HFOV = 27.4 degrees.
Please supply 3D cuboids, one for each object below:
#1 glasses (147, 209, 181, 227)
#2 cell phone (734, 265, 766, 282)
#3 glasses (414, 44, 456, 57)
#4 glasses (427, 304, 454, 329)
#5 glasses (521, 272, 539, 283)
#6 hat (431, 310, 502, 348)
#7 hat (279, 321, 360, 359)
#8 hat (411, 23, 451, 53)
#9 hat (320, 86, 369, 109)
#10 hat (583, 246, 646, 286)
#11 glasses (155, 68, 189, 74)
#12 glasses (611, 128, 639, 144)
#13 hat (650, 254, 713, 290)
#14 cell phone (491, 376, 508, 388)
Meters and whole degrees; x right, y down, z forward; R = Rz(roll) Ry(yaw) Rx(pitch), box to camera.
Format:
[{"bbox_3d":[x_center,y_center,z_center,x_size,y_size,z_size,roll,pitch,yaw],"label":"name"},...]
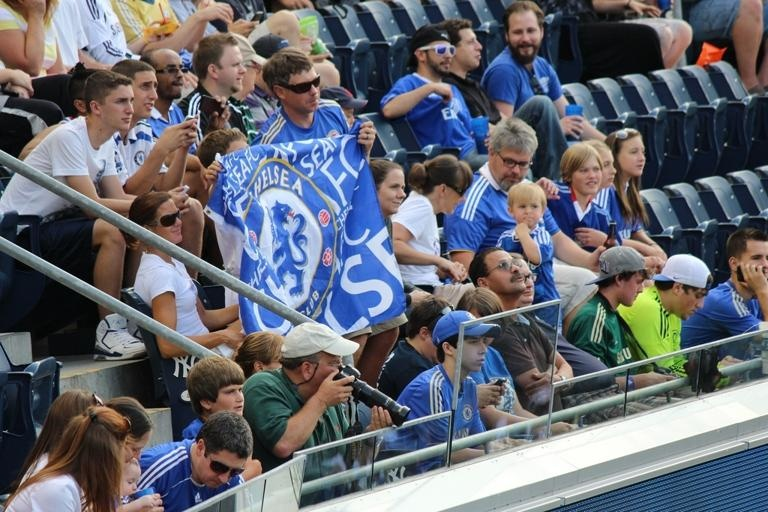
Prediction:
[{"bbox_3d":[-1.443,-0.247,10.518,0.141,0.044,0.124,-13,8,39],"label":"glasses"},{"bbox_3d":[2.785,0.134,12.103,0.150,0.143,0.036,-1,1,43],"label":"cell phone"},{"bbox_3d":[0.425,-1.707,12.911,0.190,0.055,0.148,-4,-1,30],"label":"glasses"},{"bbox_3d":[0.370,0.384,10.149,0.130,0.038,0.131,-25,0,21],"label":"glasses"},{"bbox_3d":[1.002,0.142,10.984,0.074,0.035,0.075,7,-14,-40],"label":"glasses"},{"bbox_3d":[0.487,0.452,9.605,0.325,0.154,0.202,-10,2,23],"label":"hat"},{"bbox_3d":[-0.393,0.510,9.618,0.364,0.137,0.225,-2,7,0],"label":"hat"},{"bbox_3d":[0.379,-1.788,13.009,0.262,0.195,0.202,-31,-6,16],"label":"hat"},{"bbox_3d":[-0.304,-1.254,12.302,0.299,0.104,0.185,7,12,-4],"label":"hat"},{"bbox_3d":[1.643,0.064,11.148,0.351,0.177,0.225,-8,5,-19],"label":"hat"},{"bbox_3d":[-1.566,-1.376,11.580,0.104,0.027,0.107,1,4,43],"label":"glasses"},{"bbox_3d":[1.932,-1.008,12.792,0.142,0.045,0.141,-2,-22,-11],"label":"glasses"},{"bbox_3d":[2.210,0.108,11.661,0.330,0.180,0.233,8,5,8],"label":"hat"},{"bbox_3d":[0.686,0.740,9.251,0.068,0.056,0.067,-6,6,-3],"label":"cell phone"}]
